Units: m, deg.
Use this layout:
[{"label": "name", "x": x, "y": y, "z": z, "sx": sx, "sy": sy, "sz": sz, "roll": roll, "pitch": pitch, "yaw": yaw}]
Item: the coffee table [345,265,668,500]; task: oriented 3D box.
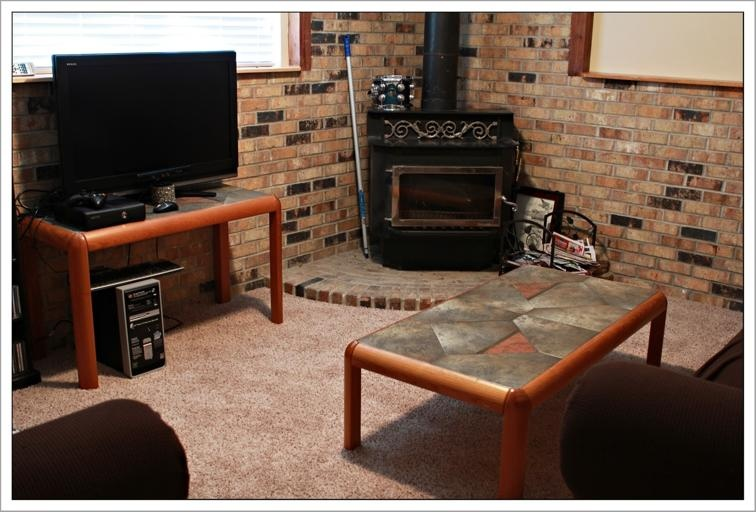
[{"label": "coffee table", "x": 0.687, "y": 0.456, "z": 2.520, "sx": 0.846, "sy": 0.400, "sz": 1.527, "roll": 14, "pitch": 22, "yaw": 43}]

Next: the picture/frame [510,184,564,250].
[{"label": "picture/frame", "x": 1.305, "y": -0.309, "z": 4.261, "sx": 0.081, "sy": 0.569, "sz": 0.594, "roll": 9, "pitch": 1, "yaw": -44}]

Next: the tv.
[{"label": "tv", "x": -1.375, "y": -0.777, "z": 3.006, "sx": 1.100, "sy": 0.646, "sz": 0.106, "roll": -14, "pitch": 26, "yaw": -42}]

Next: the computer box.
[{"label": "computer box", "x": -1.404, "y": 0.378, "z": 2.946, "sx": 0.378, "sy": 0.508, "sz": 0.278, "roll": 16, "pitch": 27, "yaw": 34}]

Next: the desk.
[{"label": "desk", "x": -1.360, "y": 0.095, "z": 3.319, "sx": 0.821, "sy": 0.758, "sz": 1.416, "roll": 14, "pitch": 20, "yaw": 36}]

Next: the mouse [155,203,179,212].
[{"label": "mouse", "x": -1.197, "y": -0.280, "z": 2.948, "sx": 0.058, "sy": 0.028, "sz": 0.100, "roll": 16, "pitch": 20, "yaw": 39}]

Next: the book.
[{"label": "book", "x": 1.334, "y": -0.015, "z": 3.996, "sx": 0.528, "sy": 0.133, "sz": 0.404, "roll": 15, "pitch": 21, "yaw": 39}]

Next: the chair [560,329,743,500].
[{"label": "chair", "x": 0.800, "y": 0.494, "z": 1.622, "sx": 0.542, "sy": 0.469, "sz": 0.396, "roll": 5, "pitch": -13, "yaw": 25}]
